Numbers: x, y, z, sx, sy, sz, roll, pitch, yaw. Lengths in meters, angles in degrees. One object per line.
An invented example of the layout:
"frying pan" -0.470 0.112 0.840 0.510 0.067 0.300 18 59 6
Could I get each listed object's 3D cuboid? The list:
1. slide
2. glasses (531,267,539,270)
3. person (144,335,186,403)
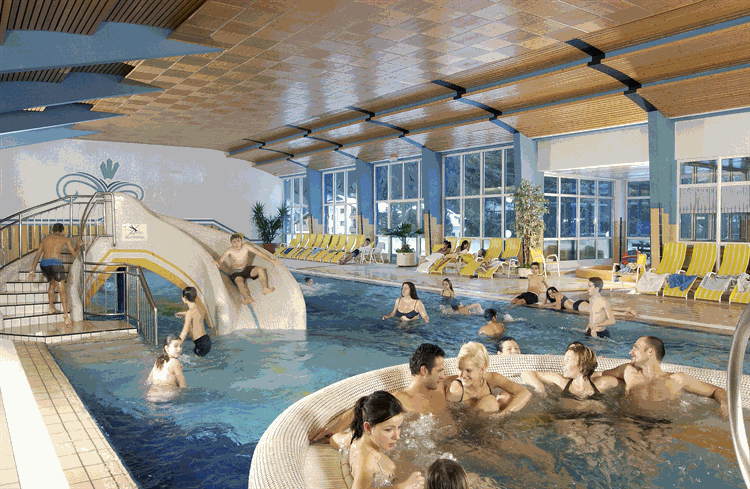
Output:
"slide" -3.480 0.394 10.352 3.624 2.958 1.491 -2 4 4
"glasses" 3.586 0.535 10.775 0.126 0.057 0.164 -5 -7 23
"person" -3.011 1.730 6.915 0.544 0.838 0.646 -4 4 -21
